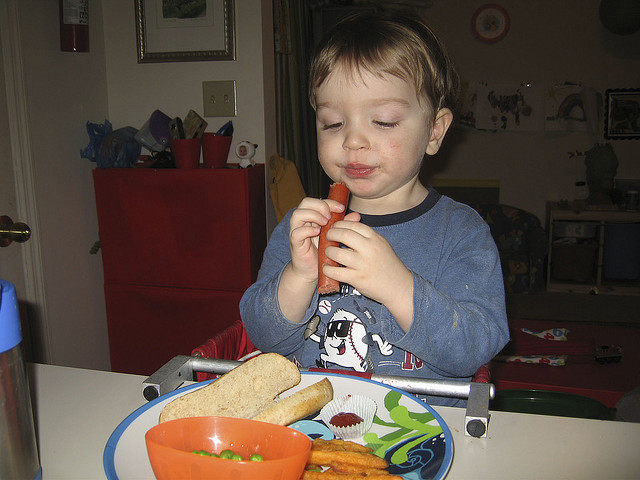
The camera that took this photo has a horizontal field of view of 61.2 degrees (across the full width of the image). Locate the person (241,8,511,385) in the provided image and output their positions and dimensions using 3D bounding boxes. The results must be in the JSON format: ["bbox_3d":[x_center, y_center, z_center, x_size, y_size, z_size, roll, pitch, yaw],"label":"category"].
[{"bbox_3d":[0.141,-0.116,1.235,0.535,0.870,0.568,-5,11,-40],"label":"person"}]

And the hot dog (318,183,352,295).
[{"bbox_3d":[0.023,0.000,1.076,0.043,0.225,0.057,6,-1,-41],"label":"hot dog"}]

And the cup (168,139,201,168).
[{"bbox_3d":[-0.556,-0.349,2.216,0.117,0.095,0.112,0,2,0],"label":"cup"}]

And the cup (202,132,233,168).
[{"bbox_3d":[-0.425,-0.366,2.237,0.131,0.141,0.128,3,5,0],"label":"cup"}]
